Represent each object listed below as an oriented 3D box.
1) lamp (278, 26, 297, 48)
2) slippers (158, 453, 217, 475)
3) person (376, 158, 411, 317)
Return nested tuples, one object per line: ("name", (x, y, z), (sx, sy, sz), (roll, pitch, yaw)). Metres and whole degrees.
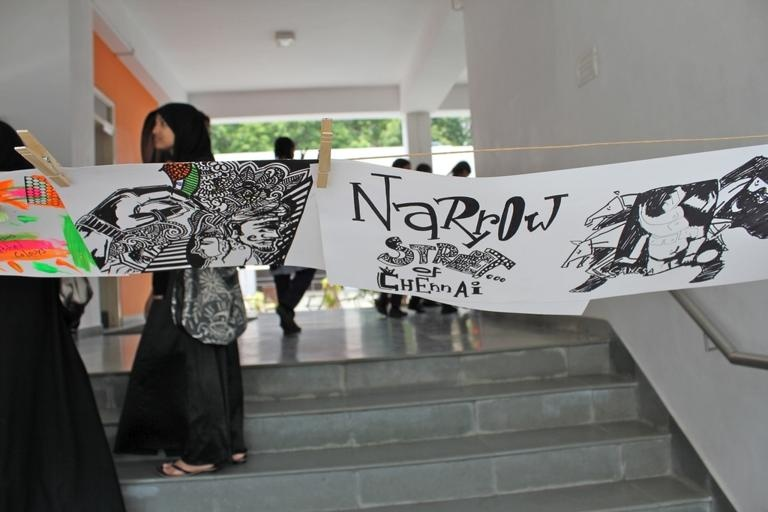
("lamp", (-1.178, -2.609, 7.618), (0.252, 0.203, 0.363), (-5, 22, -8))
("slippers", (-1.030, 1.074, 3.300), (0.249, 0.062, 0.118), (5, -6, -8))
("person", (0.081, -0.120, 5.827), (0.348, 1.664, 0.653), (-3, 22, -1))
